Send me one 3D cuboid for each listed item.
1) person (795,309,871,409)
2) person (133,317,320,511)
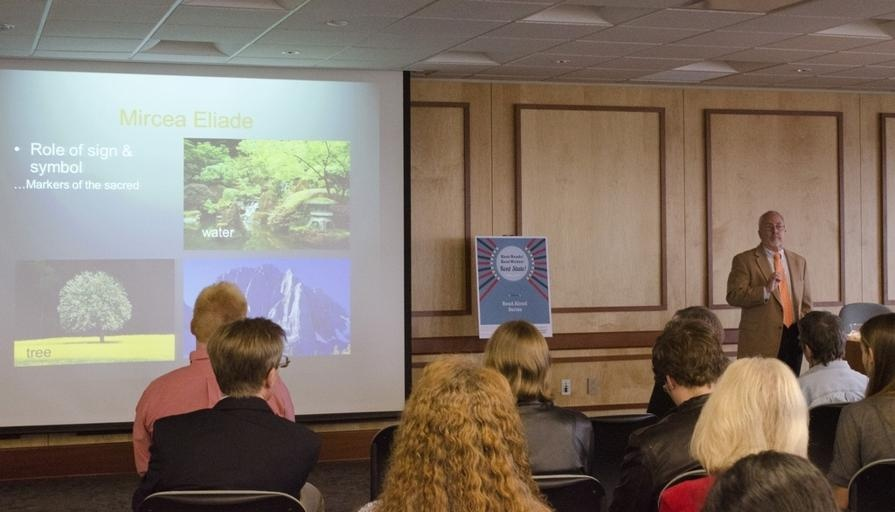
[{"bbox_3d":[3.391,0.932,6.012,1.006,0.750,0.468,-3,3,-14],"label":"person"},{"bbox_3d":[-1.465,1.056,4.573,1.144,1.194,0.570,-1,2,-22],"label":"person"}]
